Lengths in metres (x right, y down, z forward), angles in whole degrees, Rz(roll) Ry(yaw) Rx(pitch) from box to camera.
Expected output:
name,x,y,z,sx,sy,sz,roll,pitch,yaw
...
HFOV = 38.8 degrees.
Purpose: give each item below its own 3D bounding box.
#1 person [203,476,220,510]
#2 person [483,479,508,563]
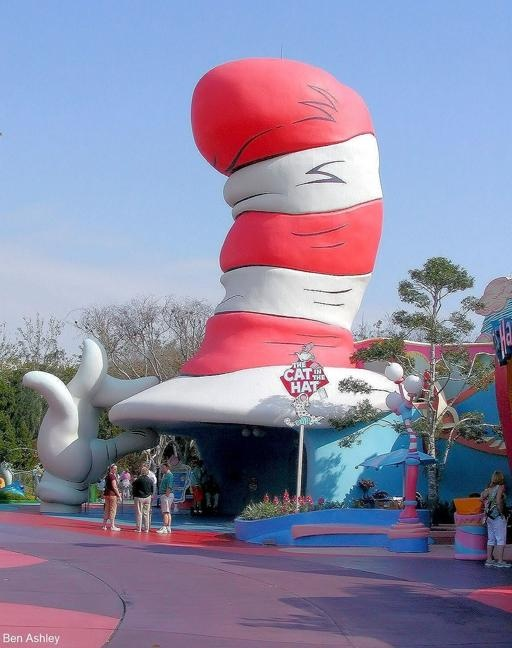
name,x,y,z,sx,sy,sz,roll,pitch,yaw
person,-1.529,5.869,25.122,0.573,1.157,0.714,3,-8,-1
person,3.647,2.988,11.286,0.375,1.336,1.261,1,-7,16
